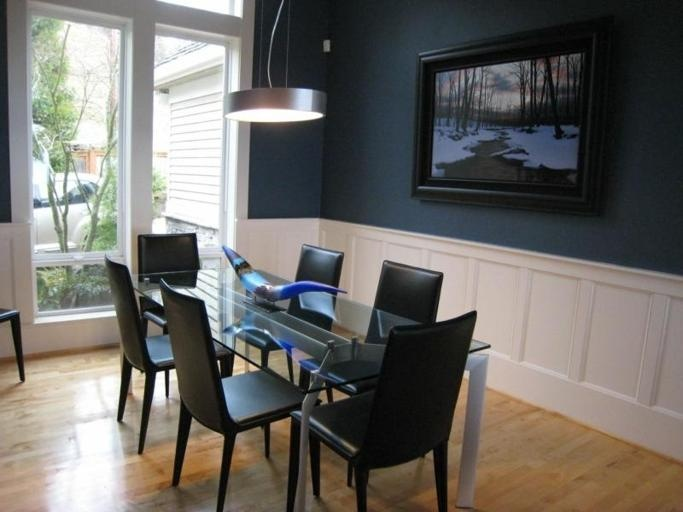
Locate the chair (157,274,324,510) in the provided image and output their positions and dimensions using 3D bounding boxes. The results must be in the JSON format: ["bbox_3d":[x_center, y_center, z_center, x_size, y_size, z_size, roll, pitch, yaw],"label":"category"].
[{"bbox_3d":[-0.559,0.794,2.884,0.876,1.581,0.771,-10,19,-35],"label":"chair"}]

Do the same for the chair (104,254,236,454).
[{"bbox_3d":[-1.215,0.614,3.536,0.703,1.161,0.665,-6,11,-39],"label":"chair"}]

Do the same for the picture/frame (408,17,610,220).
[{"bbox_3d":[1.367,-1.081,3.992,1.643,1.485,0.118,6,9,42],"label":"picture/frame"}]
